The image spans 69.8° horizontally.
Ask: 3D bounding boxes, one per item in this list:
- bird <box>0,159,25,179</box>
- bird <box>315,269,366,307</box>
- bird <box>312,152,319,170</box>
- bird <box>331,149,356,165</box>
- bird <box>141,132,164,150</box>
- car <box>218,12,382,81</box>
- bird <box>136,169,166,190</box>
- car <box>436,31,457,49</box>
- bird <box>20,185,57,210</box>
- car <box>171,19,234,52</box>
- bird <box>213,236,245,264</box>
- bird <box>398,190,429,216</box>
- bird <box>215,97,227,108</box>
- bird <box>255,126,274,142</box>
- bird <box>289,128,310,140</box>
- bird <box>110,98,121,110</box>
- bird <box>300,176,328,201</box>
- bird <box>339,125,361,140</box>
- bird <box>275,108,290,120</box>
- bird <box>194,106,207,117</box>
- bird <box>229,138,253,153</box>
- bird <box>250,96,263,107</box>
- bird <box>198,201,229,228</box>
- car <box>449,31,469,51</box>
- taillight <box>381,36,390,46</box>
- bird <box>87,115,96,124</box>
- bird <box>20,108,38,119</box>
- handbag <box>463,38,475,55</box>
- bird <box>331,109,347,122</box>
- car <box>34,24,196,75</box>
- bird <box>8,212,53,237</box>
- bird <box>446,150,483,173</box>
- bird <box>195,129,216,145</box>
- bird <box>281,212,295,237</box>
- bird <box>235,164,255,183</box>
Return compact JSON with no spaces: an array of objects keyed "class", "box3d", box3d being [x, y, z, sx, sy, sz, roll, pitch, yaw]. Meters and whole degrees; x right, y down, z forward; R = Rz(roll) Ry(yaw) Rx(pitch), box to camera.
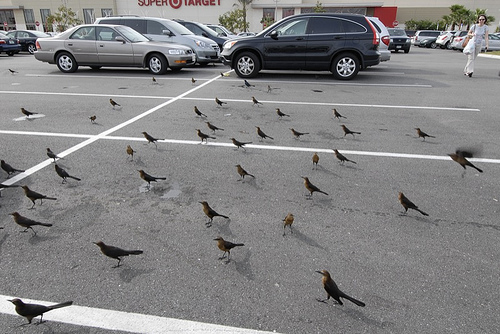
[{"class":"bird","box3d":[-4.118,0.010,6.190,0.424,0.319,0.251,3,23,1]},{"class":"bird","box3d":[1.085,1.370,4.236,0.577,0.408,0.252,11,9,21]},{"class":"bird","box3d":[1.220,-0.180,6.624,0.135,0.320,0.401,6,25,9]},{"class":"bird","box3d":[1.771,-0.197,6.671,0.407,0.297,0.357,14,27,23]},{"class":"bird","box3d":[-2.045,-0.619,7.472,0.367,0.274,0.627,2,26,-1]},{"class":"car","box3d":[2.081,-4.864,14.669,5.560,2.532,2.836,3,16,6]},{"class":"bird","box3d":[-1.701,0.160,5.919,0.544,0.365,0.218,-5,22,-35]},{"class":"car","box3d":[20.837,-13.560,38.396,2.175,1.215,1.441,-15,22,-7]},{"class":"bird","box3d":[-3.232,0.418,5.522,0.431,0.324,0.364,-5,25,-17]},{"class":"car","box3d":[-2.737,-7.735,20.831,3.620,1.801,1.986,2,44,20]},{"class":"bird","box3d":[-0.324,0.999,4.620,0.436,0.320,0.207,-7,20,-33]},{"class":"bird","box3d":[2.457,0.557,5.368,0.431,0.289,0.393,20,30,32]},{"class":"bird","box3d":[-0.872,-1.810,10.064,0.181,0.225,0.398,1,25,-4]},{"class":"bird","box3d":[0.337,-0.721,7.746,0.380,0.285,0.323,1,24,-5]},{"class":"bird","box3d":[1.099,-0.749,7.857,0.434,0.233,0.304,0,25,-6]},{"class":"bird","box3d":[-3.735,-1.776,9.939,0.330,0.405,0.172,-13,39,-36]},{"class":"bird","box3d":[1.061,0.325,5.744,0.390,0.315,0.265,6,24,6]},{"class":"bird","box3d":[2.215,-0.768,7.844,0.368,0.272,0.482,11,26,17]},{"class":"bird","box3d":[0.836,-1.398,9.178,0.355,0.260,0.569,5,26,6]},{"class":"bird","box3d":[-1.277,-1.433,9.181,0.297,0.261,0.404,-2,25,-9]},{"class":"bird","box3d":[-0.189,-0.462,7.291,0.487,0.333,0.178,-1,7,2]},{"class":"bird","box3d":[0.194,-1.855,10.128,0.293,0.263,0.460,8,26,11]},{"class":"bird","box3d":[-0.585,0.659,5.117,0.534,0.420,0.201,3,15,-16]},{"class":"car","box3d":[20.421,-12.423,35.036,1.347,1.293,2.493,0,28,13]},{"class":"taillight","box3d":[6.078,-5.587,16.015,0.500,0.403,0.194,-16,29,-35]},{"class":"bird","box3d":[-3.900,-1.195,8.808,0.229,0.173,0.084,4,13,23]},{"class":"bird","box3d":[-5.561,-1.356,9.051,0.146,0.311,0.464,12,16,41]},{"class":"handbag","box3d":[8.744,-4.740,14.201,0.366,0.594,0.688,15,27,28]},{"class":"bird","box3d":[2.233,-1.319,8.980,0.336,0.272,0.486,13,27,21]},{"class":"car","box3d":[-5.694,-5.026,15.787,6.259,2.143,2.790,1,17,2]},{"class":"bird","box3d":[-3.080,0.753,5.003,0.622,0.299,0.237,4,23,2]},{"class":"bird","box3d":[3.854,-0.170,6.425,0.471,0.232,0.476,10,0,18]},{"class":"bird","box3d":[-0.925,-0.684,7.653,0.373,0.283,0.445,0,25,-6]},{"class":"bird","box3d":[0.528,0.731,5.053,0.111,0.218,0.331,0,5,-5]},{"class":"bird","box3d":[-0.147,0.073,6.255,0.380,0.295,0.138,9,-4,-37]}]
